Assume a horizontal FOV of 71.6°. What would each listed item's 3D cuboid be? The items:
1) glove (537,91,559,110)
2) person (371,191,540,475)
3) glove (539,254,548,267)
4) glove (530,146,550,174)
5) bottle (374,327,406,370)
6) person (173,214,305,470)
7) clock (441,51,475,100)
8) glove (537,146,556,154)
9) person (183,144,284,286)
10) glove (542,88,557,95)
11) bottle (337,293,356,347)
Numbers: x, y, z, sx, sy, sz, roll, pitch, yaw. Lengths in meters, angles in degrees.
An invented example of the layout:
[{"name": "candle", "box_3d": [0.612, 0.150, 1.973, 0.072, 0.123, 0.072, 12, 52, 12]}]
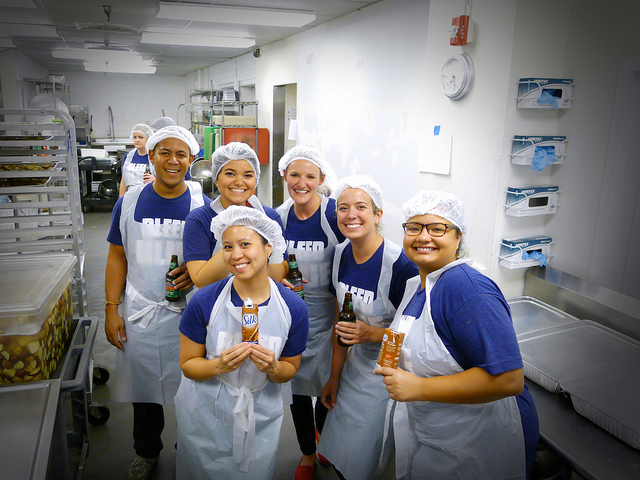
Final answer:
[{"name": "glove", "box_3d": [1.580, -0.969, 3.071, 0.139, 0.114, 0.045, 5, 11, 23]}, {"name": "person", "box_3d": [0.563, 0.553, 1.962, 0.750, 1.515, 0.581, 6, 11, 29]}, {"name": "glove", "box_3d": [1.651, 0.151, 3.278, 0.046, 0.071, 0.020, -1, -1, 2]}, {"name": "glove", "box_3d": [1.542, -0.564, 3.081, 0.104, 0.151, 0.052, 8, 19, 15]}, {"name": "bottle", "box_3d": [0.293, 0.452, 1.847, 0.099, 0.144, 0.068, 4, 11, 20]}, {"name": "person", "box_3d": [-0.362, 0.501, 2.029, 0.579, 1.220, 0.356, -5, 11, -28]}, {"name": "clock", "box_3d": [1.117, -1.336, 3.617, 0.067, 0.373, 0.373, -3, 11, -17]}, {"name": "glove", "box_3d": [1.612, -0.634, 3.123, 0.060, 0.064, 0.017, 5, 6, 12]}, {"name": "person", "box_3d": [-0.501, 0.012, 2.561, 0.566, 1.104, 0.517, 2, -3, -31]}, {"name": "glove", "box_3d": [1.591, -1.021, 3.073, 0.050, 0.054, 0.039, 1, 14, 23]}, {"name": "bottle", "box_3d": [0.140, 0.439, 2.356, 0.096, 0.383, 0.273, 1, 10, 3]}]
